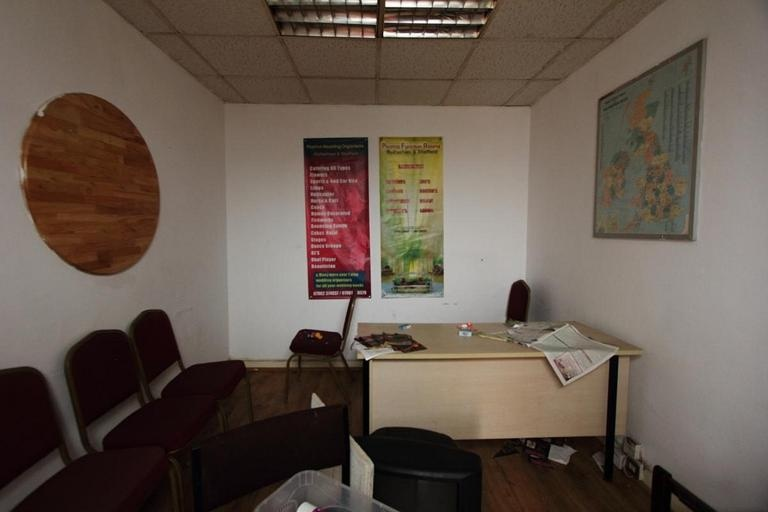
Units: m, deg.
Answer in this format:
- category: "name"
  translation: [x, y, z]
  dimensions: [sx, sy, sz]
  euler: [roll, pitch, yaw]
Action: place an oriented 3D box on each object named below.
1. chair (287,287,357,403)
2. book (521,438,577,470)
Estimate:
- category: "chair"
  translation: [-0.623, 0.856, 4.914]
  dimensions: [0.690, 0.970, 0.824]
  euler: [2, 2, -3]
- category: "book"
  translation: [1.316, 1.565, 3.990]
  dimensions: [0.250, 0.066, 0.261]
  euler: [-1, 6, -13]
